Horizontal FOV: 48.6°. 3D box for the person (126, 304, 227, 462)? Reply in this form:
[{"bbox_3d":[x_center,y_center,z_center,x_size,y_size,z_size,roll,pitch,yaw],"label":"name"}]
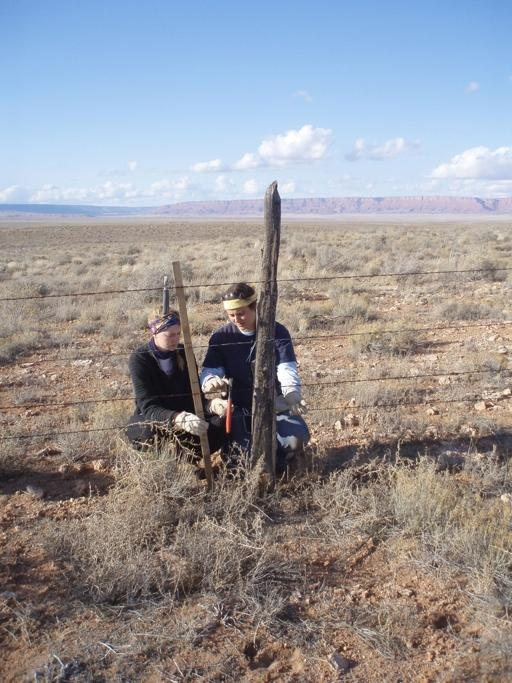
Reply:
[{"bbox_3d":[-0.559,0.353,4.165,0.628,1.176,0.791,-10,11,-40],"label":"person"}]

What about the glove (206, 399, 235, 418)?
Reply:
[{"bbox_3d":[-0.267,0.472,4.057,0.183,0.142,0.077,6,-3,33],"label":"glove"}]

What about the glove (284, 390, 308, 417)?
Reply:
[{"bbox_3d":[0.258,0.438,4.048,0.112,0.168,0.245,-11,12,-42],"label":"glove"}]

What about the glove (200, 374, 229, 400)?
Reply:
[{"bbox_3d":[-0.290,0.331,4.309,0.242,0.123,0.324,2,-2,8],"label":"glove"}]

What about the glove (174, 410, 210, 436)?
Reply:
[{"bbox_3d":[-0.442,0.541,3.852,0.205,0.163,0.071,4,44,38],"label":"glove"}]
